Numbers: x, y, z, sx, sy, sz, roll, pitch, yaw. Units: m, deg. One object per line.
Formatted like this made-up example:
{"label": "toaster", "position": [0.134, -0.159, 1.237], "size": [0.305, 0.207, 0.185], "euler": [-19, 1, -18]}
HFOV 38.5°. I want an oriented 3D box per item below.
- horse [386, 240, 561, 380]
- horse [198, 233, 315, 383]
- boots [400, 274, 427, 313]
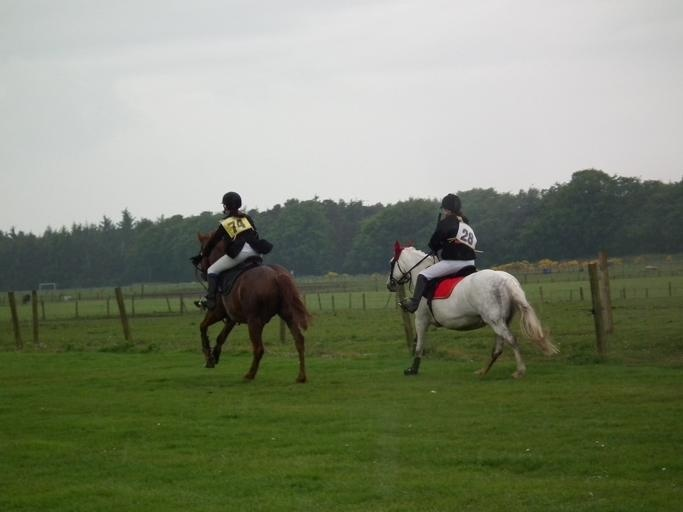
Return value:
{"label": "horse", "position": [2.515, 1.190, 20.766], "size": [4.164, 3.027, 1.035], "euler": [0, 2, 43]}
{"label": "horse", "position": [-2.122, 1.130, 21.304], "size": [1.134, 3.031, 4.205], "euler": [-1, 5, -40]}
{"label": "boots", "position": [1.617, 0.750, 20.872], "size": [0.422, 0.860, 0.244], "euler": [-1, 36, -11]}
